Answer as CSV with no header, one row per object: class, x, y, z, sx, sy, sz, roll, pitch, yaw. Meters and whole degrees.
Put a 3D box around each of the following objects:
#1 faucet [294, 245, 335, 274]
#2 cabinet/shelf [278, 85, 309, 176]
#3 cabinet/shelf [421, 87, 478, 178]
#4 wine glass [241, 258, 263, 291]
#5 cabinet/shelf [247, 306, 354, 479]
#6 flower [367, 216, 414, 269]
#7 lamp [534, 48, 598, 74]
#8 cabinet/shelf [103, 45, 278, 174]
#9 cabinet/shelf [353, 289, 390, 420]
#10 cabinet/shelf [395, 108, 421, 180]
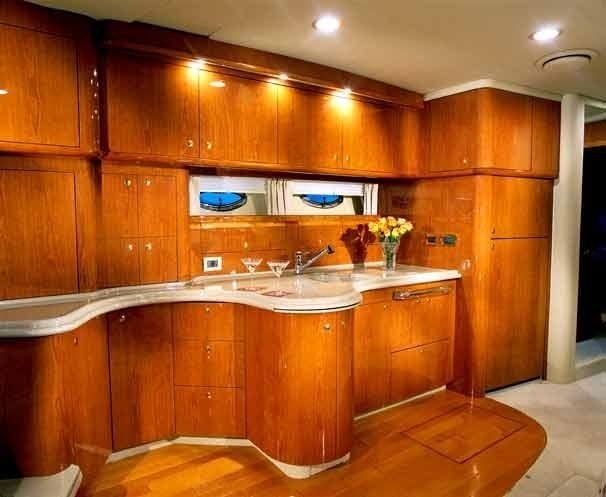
faucet,0.102,0.064,3.990,0.271,0.236,0.386,1,11,5
cabinet/shelf,-0.065,-0.864,3.570,0.268,0.563,0.088,-10,16,-40
cabinet/shelf,1.192,-0.928,4.044,0.143,0.641,0.501,-7,13,-28
wine glass,-0.364,0.167,3.659,0.207,0.214,0.196,0,2,12
cabinet/shelf,-0.045,0.818,3.066,0.656,0.909,0.394,0,12,0
flower,0.713,-0.044,4.254,0.472,0.419,0.450,0,-1,-36
lamp,1.801,-1.291,3.433,0.365,0.088,0.311,5,11,23
cabinet/shelf,-0.739,-0.891,3.194,0.977,0.653,0.198,-4,13,-19
cabinet/shelf,0.481,0.735,3.557,0.360,0.838,0.148,-11,17,-42
cabinet/shelf,0.904,-0.888,4.178,0.262,0.552,0.109,-8,15,-34
